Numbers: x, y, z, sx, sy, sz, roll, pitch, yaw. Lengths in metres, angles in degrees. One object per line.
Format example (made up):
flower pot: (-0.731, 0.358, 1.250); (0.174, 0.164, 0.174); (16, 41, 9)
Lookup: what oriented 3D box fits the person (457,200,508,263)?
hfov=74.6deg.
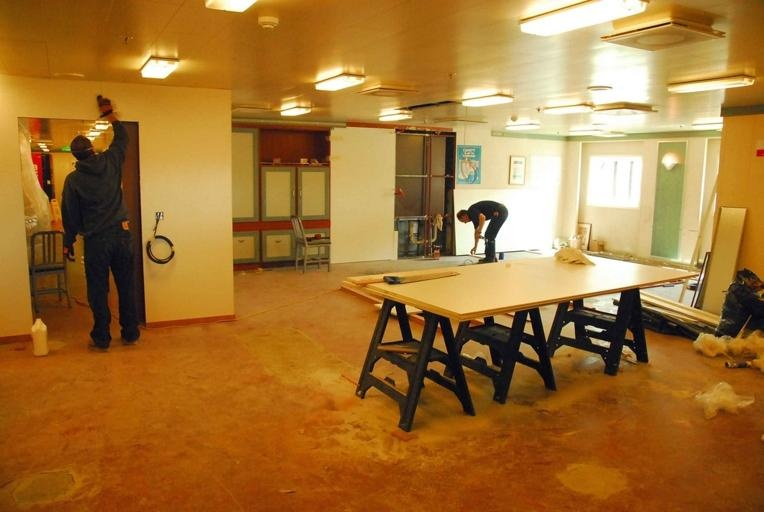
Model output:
person: (1.979, -0.529, 9.595); (1.299, 1.399, 1.036); (0, 5, 12)

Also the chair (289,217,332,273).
chair: (-1.419, -0.271, 10.505); (0.960, 1.125, 1.064); (-2, 14, -25)

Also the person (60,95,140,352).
person: (-3.329, -0.192, 5.903); (0.697, 2.537, 0.609); (-4, 15, -31)

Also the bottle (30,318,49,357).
bottle: (-3.962, 0.926, 5.808); (0.149, 0.413, 0.255); (-5, 16, -34)

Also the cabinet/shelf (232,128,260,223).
cabinet/shelf: (-2.738, -1.631, 10.071); (0.501, 1.828, 0.347); (0, 14, -16)

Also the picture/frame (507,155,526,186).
picture/frame: (3.442, -2.246, 12.949); (0.819, 0.998, 0.078); (-3, 7, -32)

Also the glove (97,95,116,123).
glove: (-3.432, -1.847, 6.237); (0.156, 0.185, 0.471); (-19, 53, -32)

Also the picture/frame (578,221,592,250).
picture/frame: (5.388, -0.536, 13.426); (0.435, 0.739, 0.218); (14, 16, 38)

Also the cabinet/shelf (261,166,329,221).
cabinet/shelf: (-1.966, -1.369, 10.799); (1.728, 1.204, 0.597); (-6, 13, -37)

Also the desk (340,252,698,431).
desk: (1.360, 0.668, 6.080); (3.918, 1.298, 2.443); (-3, 14, -30)

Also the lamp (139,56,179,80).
lamp: (-2.439, -2.066, 5.499); (0.260, 0.061, 0.466); (3, -4, -30)

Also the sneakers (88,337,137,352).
sneakers: (-3.253, 1.016, 6.083); (0.582, 0.215, 0.206); (0, 3, -35)
